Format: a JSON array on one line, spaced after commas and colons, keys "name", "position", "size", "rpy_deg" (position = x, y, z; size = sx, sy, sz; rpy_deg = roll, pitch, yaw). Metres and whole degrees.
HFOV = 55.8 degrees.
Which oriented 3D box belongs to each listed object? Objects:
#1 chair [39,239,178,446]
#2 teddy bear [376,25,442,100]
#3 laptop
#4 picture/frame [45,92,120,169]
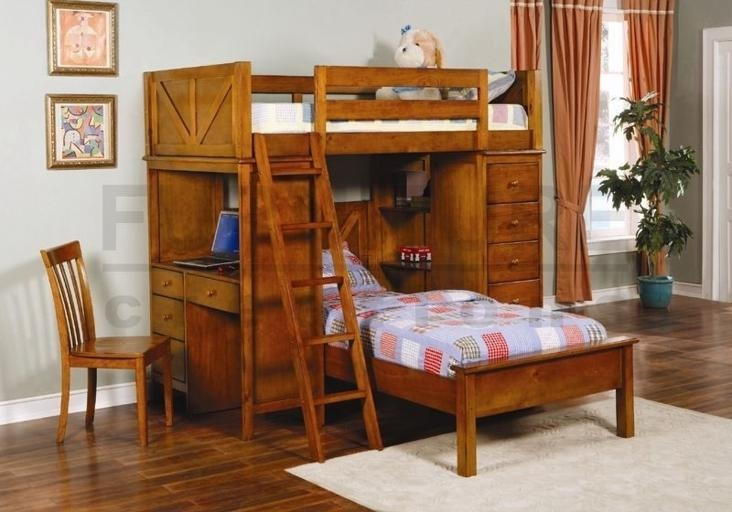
[{"name": "chair", "position": [-1.580, 0.489, 4.168], "size": [0.769, 1.130, 0.792], "rpy_deg": [-2, 9, -2]}, {"name": "teddy bear", "position": [0.350, -1.361, 5.003], "size": [0.438, 0.576, 0.443], "rpy_deg": [2, 11, 12]}, {"name": "laptop", "position": [-0.998, -0.089, 4.500], "size": [0.421, 0.312, 0.462], "rpy_deg": [0, 1, -35]}, {"name": "picture/frame", "position": [-1.833, -0.803, 4.394], "size": [0.527, 0.534, 0.045], "rpy_deg": [-3, 6, -29]}]
